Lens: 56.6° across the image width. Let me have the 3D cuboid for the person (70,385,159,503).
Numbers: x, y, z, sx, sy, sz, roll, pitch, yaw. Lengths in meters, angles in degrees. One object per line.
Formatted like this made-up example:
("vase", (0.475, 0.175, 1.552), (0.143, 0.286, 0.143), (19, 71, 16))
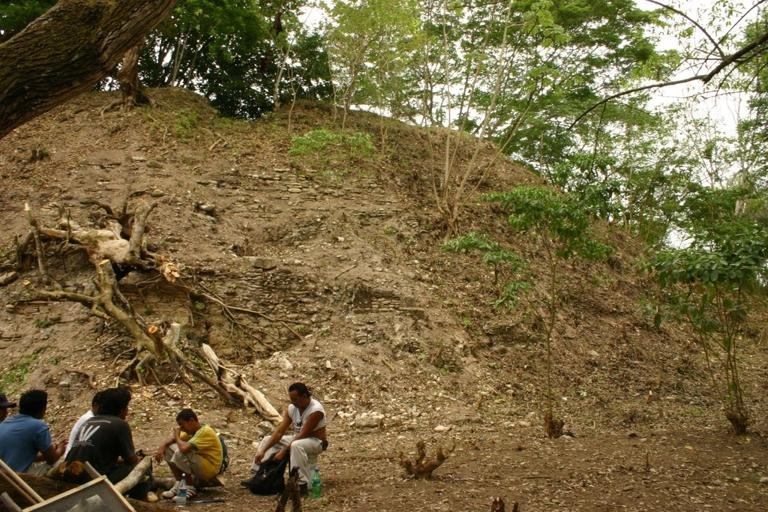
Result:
("person", (-4.481, 2.906, 11.498), (0.978, 1.394, 0.673), (-6, 10, -20))

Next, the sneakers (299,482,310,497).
("sneakers", (-1.344, 3.960, 12.108), (0.157, 0.225, 0.248), (3, -18, -9))
